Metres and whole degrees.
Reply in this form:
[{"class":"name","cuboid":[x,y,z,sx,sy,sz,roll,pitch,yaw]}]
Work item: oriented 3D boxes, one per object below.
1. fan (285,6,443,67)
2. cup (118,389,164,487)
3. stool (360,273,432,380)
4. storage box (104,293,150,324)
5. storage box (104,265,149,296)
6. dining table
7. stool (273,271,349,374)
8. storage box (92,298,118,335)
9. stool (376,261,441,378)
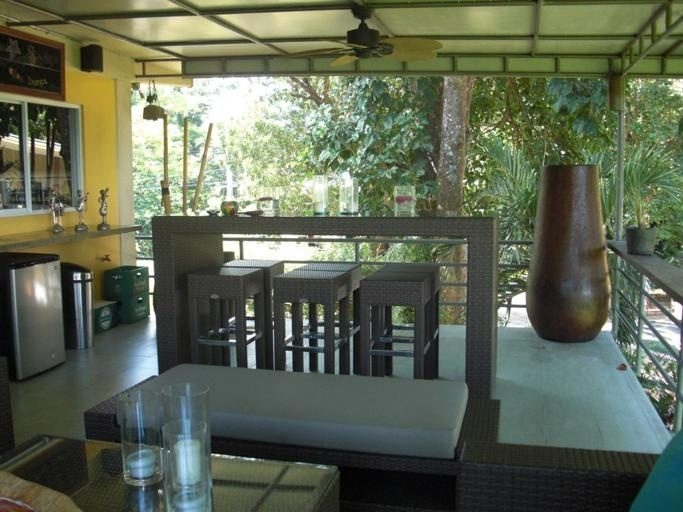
[{"class":"fan","cuboid":[0.227,-1.998,4.883,0.775,0.264,0.849,-3,4,-16]},{"class":"cup","cuboid":[-0.713,0.640,1.955,0.140,0.397,0.156,-5,10,-23]},{"class":"stool","cuboid":[0.452,0.568,4.205,0.407,0.880,1.006,0,3,13]},{"class":"storage box","cuboid":[-2.529,0.631,6.566,0.335,0.225,0.363,0,6,1]},{"class":"storage box","cuboid":[-2.560,0.290,6.543,0.377,0.246,0.378,1,10,3]},{"class":"dining table","cuboid":[-0.278,0.308,4.000,2.175,1.326,0.682,-1,6,26]},{"class":"stool","cuboid":[-0.221,0.546,4.079,0.436,0.779,0.557,1,2,6]},{"class":"storage box","cuboid":[-2.552,0.708,6.192,0.456,0.299,0.246,-16,-15,31]},{"class":"stool","cuboid":[0.436,0.515,4.001,0.349,0.768,0.872,1,5,7]}]
